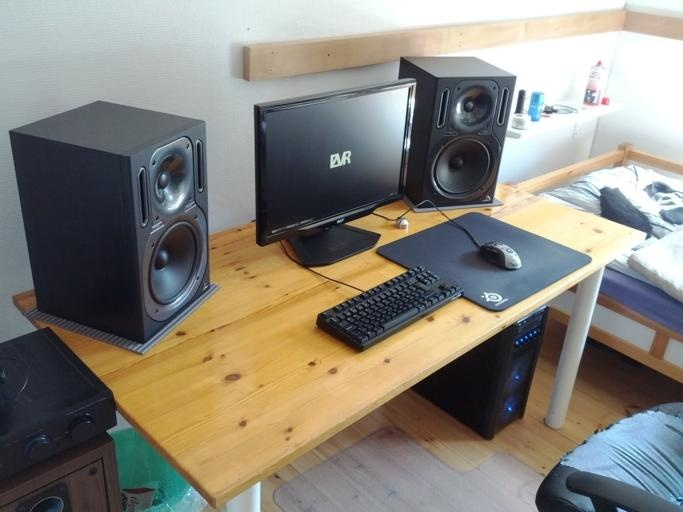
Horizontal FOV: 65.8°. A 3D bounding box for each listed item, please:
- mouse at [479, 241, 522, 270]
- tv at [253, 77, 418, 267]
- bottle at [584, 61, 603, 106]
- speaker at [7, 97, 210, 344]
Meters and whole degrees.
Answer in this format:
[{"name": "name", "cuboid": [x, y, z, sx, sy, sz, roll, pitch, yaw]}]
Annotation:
[{"name": "mouse", "cuboid": [0.495, -0.002, 1.650, 0.072, 0.036, 0.117, -27, 40, -33]}, {"name": "tv", "cuboid": [-0.026, -0.251, 1.631, 0.547, 0.454, 0.226, -22, 37, -37]}, {"name": "bottle", "cuboid": [1.427, -0.971, 2.962, 0.089, 0.209, 0.217, 15, 34, 22]}, {"name": "speaker", "cuboid": [-0.556, -0.097, 1.327, 0.341, 0.473, 0.353, 12, 33, 18]}]
